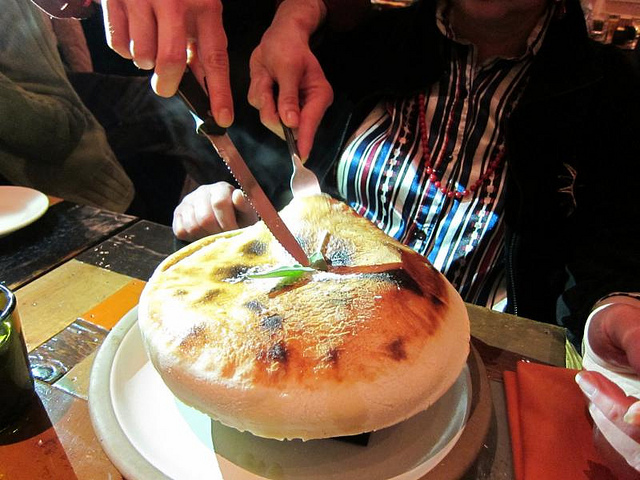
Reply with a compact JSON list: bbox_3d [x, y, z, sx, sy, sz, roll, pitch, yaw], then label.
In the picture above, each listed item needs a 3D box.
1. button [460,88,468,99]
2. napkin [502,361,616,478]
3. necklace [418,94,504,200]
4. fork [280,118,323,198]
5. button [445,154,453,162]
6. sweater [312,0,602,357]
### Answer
[{"bbox_3d":[0.482,-0.494,1.603,0.031,0.008,0.036,-5,80,17],"label":"button"},{"bbox_3d":[0.494,0.352,0.979,0.179,0.053,0.196,11,54,1],"label":"napkin"},{"bbox_3d":[0.481,-0.306,1.591,0.319,0.031,0.396,2,79,-3],"label":"necklace"},{"bbox_3d":[-0.052,-0.177,1.225,0.061,0.024,0.282,-13,75,-6],"label":"fork"},{"bbox_3d":[0.431,-0.280,1.604,0.020,0.006,0.023,-10,73,30],"label":"button"},{"bbox_3d":[0.451,-0.192,1.423,0.654,0.836,0.438,39,43,25],"label":"sweater"}]
